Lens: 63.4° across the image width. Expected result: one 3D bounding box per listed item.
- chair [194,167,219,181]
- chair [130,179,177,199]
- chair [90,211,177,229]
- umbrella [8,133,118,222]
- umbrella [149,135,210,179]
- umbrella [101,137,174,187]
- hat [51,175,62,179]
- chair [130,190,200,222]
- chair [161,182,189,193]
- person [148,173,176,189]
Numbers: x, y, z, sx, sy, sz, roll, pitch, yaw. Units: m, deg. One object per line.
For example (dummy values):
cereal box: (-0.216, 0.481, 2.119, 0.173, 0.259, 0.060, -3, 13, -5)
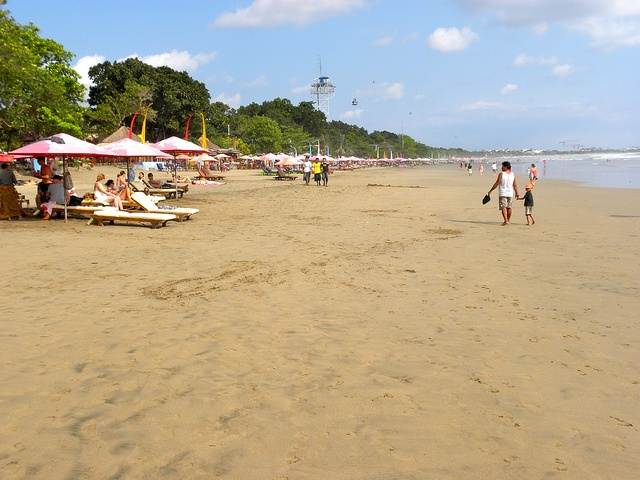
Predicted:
chair: (-8.776, -5.007, 39.163, 2.458, 0.851, 1.369, 6, 12, 30)
chair: (-7.083, -2.198, 22.437, 1.755, 0.638, 0.825, 2, 17, 7)
chair: (-5.086, -0.651, 13.986, 1.859, 0.327, 0.782, 2, 11, 1)
umbrella: (-7.371, -2.147, 15.081, 2.545, 1.991, 2.456, 4, 19, -11)
umbrella: (-6.227, -3.723, 22.634, 2.302, 1.306, 2.120, 0, 5, -6)
umbrella: (-6.157, -2.562, 16.919, 1.982, 1.136, 1.815, 1, 9, -6)
hat: (-8.064, -1.943, 15.792, 0.195, 0.119, 0.182, 2, -1, -17)
chair: (-4.553, -1.000, 15.137, 1.869, 0.708, 0.874, 1, 13, -1)
chair: (-6.677, -2.466, 23.760, 1.019, 0.365, 0.545, 1, 2, -15)
person: (-7.177, -2.688, 23.189, 1.240, 0.619, 0.635, 1, 18, 0)
